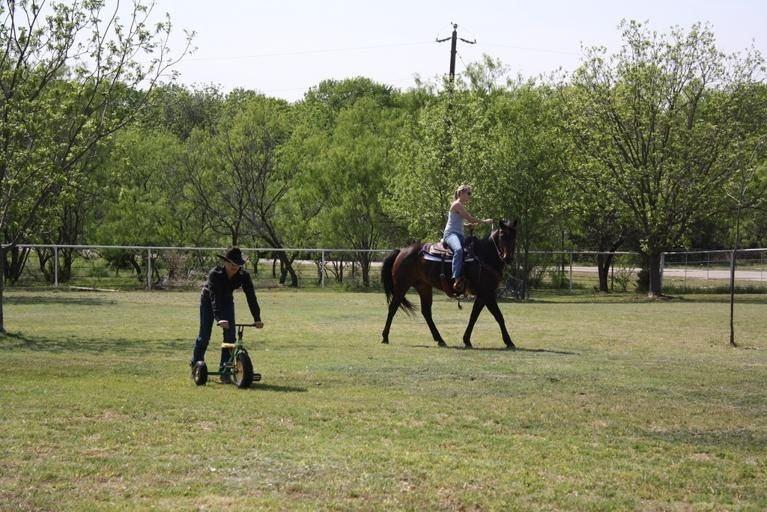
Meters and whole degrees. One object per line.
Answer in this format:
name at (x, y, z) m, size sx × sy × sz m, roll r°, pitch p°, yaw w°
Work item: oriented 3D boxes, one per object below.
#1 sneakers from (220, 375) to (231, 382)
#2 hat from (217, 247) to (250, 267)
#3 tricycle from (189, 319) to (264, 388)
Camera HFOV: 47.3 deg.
sneakers at (-3.603, 2.834, 19.984) m, size 0.204 × 0.185 × 0.133 m, roll 15°, pitch -7°, yaw -21°
hat at (-3.419, 0.021, 19.914) m, size 0.512 × 0.468 × 0.752 m, roll -1°, pitch 8°, yaw -13°
tricycle at (-3.626, 2.392, 20.034) m, size 1.233 × 1.204 × 1.679 m, roll 4°, pitch -10°, yaw -33°
